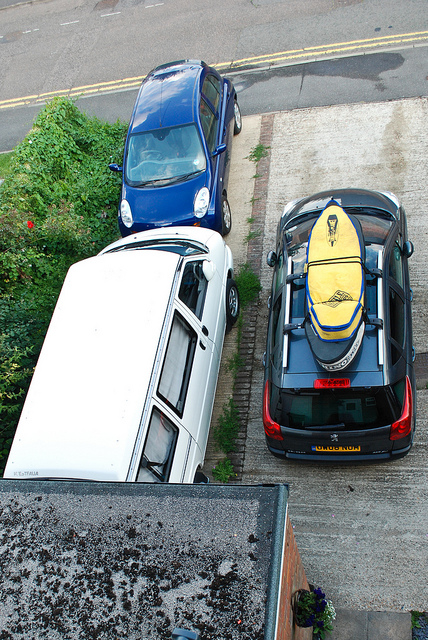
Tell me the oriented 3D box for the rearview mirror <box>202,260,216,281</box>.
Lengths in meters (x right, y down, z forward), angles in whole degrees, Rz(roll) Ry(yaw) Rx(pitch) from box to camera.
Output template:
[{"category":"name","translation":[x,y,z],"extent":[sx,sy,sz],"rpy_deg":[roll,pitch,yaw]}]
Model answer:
[{"category":"rearview mirror","translation":[-0.067,-0.587,6.881],"extent":[0.155,0.083,0.218],"rpy_deg":[10,85,33]}]

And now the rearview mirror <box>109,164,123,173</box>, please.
[{"category":"rearview mirror","translation":[-1.586,-2.445,9.338],"extent":[0.190,0.085,0.136],"rpy_deg":[8,38,-28]}]

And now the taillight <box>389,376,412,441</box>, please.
[{"category":"taillight","translation":[1.850,0.885,5.627],"extent":[0.159,0.284,0.560],"rpy_deg":[13,58,25]}]

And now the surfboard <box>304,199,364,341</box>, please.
[{"category":"surfboard","translation":[1.215,-0.523,5.907],"extent":[0.485,0.203,1.427],"rpy_deg":[-3,54,17]}]

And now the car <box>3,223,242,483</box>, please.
[{"category":"car","translation":[-0.875,0.307,6.077],"extent":[1.528,1.535,3.418],"rpy_deg":[-2,66,25]}]

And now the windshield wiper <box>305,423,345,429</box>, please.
[{"category":"windshield wiper","translation":[1.076,1.048,5.668],"extent":[0.415,0.088,0.082],"rpy_deg":[-3,90,10]}]

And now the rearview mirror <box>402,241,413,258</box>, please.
[{"category":"rearview mirror","translation":[2.293,-0.844,6.854],"extent":[0.055,0.119,0.161],"rpy_deg":[3,93,-24]}]

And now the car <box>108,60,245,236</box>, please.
[{"category":"car","translation":[-0.565,-2.997,9.797],"extent":[1.955,1.587,3.710],"rpy_deg":[0,53,14]}]

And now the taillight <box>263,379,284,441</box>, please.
[{"category":"taillight","translation":[0.604,0.975,5.999],"extent":[0.279,0.465,0.127],"rpy_deg":[-1,10,1]}]

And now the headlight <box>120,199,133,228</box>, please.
[{"category":"headlight","translation":[-1.328,-1.621,8.769],"extent":[0.107,0.218,0.422],"rpy_deg":[-9,79,-24]}]

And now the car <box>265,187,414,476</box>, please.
[{"category":"car","translation":[1.470,-0.163,6.241],"extent":[1.513,1.744,3.305],"rpy_deg":[2,74,18]}]
